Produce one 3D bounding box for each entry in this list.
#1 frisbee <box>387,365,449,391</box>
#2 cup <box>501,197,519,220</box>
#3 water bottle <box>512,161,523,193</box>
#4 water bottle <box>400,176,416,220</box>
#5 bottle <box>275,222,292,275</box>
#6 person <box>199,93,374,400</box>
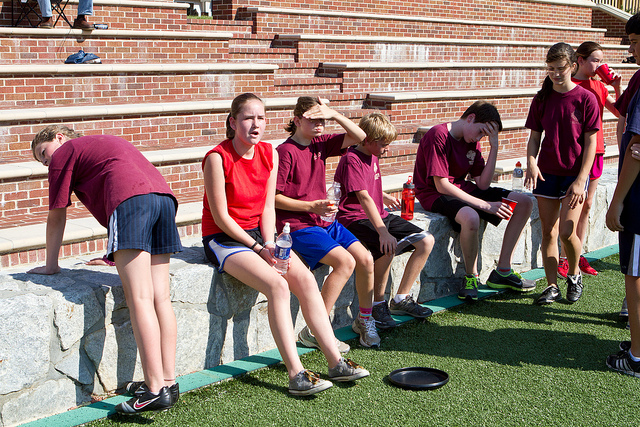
[{"bbox_3d":[0.775,1.286,4.077,0.475,0.072,0.338,-6,14,-27],"label":"frisbee"},{"bbox_3d":[1.955,-0.062,5.308,0.147,0.185,0.151,18,-17,6],"label":"cup"},{"bbox_3d":[2.301,-0.423,5.994,0.094,0.323,0.353,4,12,19],"label":"water bottle"},{"bbox_3d":[0.906,-0.143,5.321,0.133,0.363,0.304,2,12,10],"label":"water bottle"},{"bbox_3d":[-0.292,0.280,3.967,0.119,0.417,0.118,0,11,0],"label":"bottle"},{"bbox_3d":[-0.404,0.209,3.977,1.236,2.210,0.562,10,15,41],"label":"person"}]
